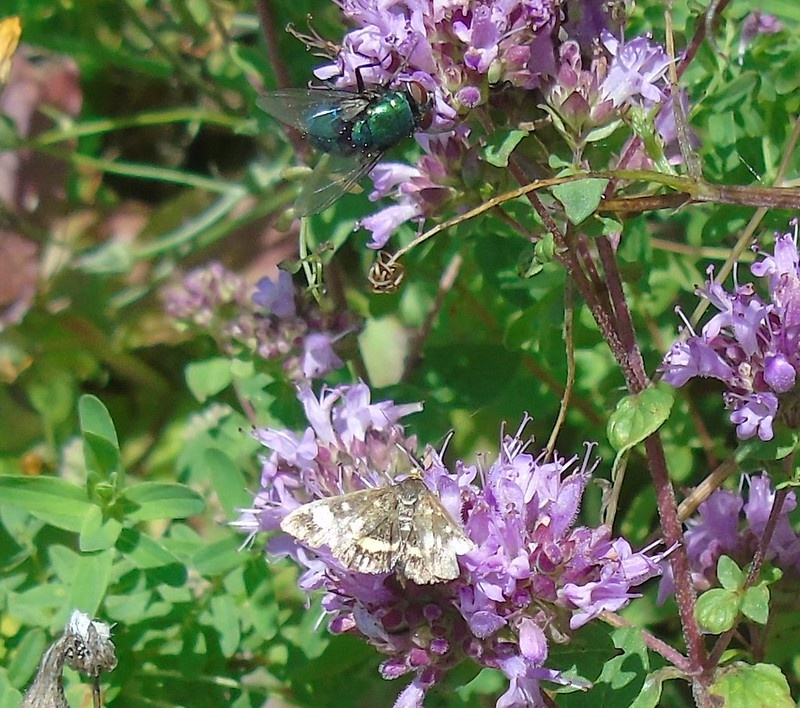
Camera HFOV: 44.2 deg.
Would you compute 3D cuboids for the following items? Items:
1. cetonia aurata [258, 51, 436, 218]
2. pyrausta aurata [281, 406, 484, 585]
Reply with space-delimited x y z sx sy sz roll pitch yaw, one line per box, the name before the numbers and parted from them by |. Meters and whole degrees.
cetonia aurata | -0.114 -0.472 2.069 0.309 0.240 0.097 -17 22 31
pyrausta aurata | -0.044 0.336 1.798 0.332 0.099 0.223 -15 68 -4
